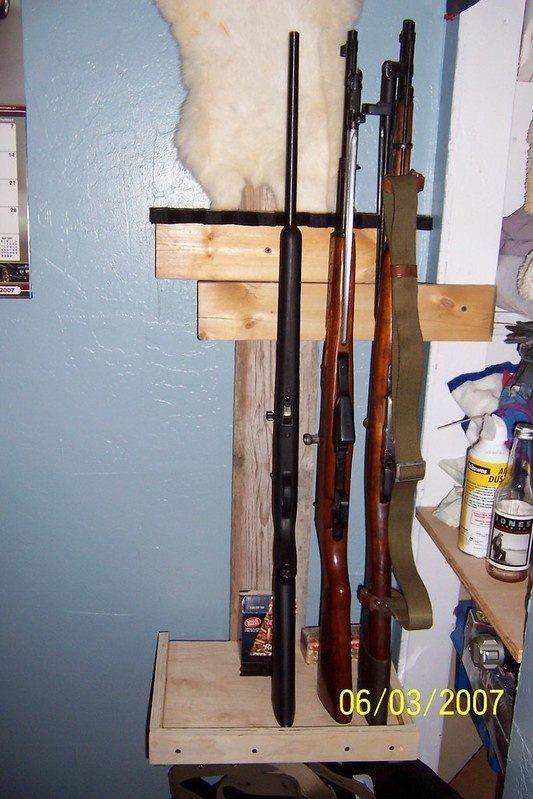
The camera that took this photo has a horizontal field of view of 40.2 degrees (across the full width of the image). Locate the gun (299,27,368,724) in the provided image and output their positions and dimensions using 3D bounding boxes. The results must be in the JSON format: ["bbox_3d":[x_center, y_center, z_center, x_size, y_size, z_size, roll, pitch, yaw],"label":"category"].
[{"bbox_3d":[0.136,-0.018,1.200,0.074,1.097,0.217,2,-3,0],"label":"gun"}]
